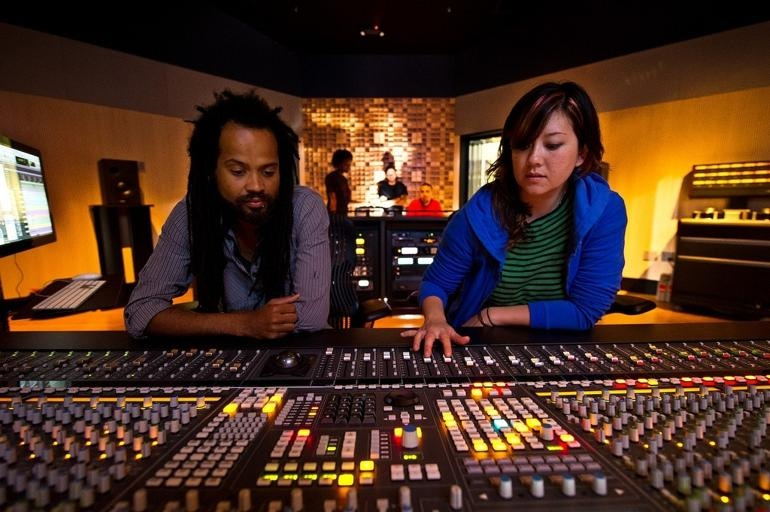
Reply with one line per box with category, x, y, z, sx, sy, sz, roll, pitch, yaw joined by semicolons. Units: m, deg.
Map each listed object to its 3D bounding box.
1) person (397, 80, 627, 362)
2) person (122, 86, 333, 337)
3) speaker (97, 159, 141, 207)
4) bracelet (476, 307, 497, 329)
person;0.683;-0.215;2.618;0.995;1.206;0.775;1;10;0
person;-0.767;-0.165;2.689;0.850;1.061;0.970;12;16;41
speaker;-2.722;-0.729;5.672;0.477;0.451;0.376;-7;-3;5
bracelet;0.474;0.296;2.583;0.062;0.079;0.031;-55;12;-26
